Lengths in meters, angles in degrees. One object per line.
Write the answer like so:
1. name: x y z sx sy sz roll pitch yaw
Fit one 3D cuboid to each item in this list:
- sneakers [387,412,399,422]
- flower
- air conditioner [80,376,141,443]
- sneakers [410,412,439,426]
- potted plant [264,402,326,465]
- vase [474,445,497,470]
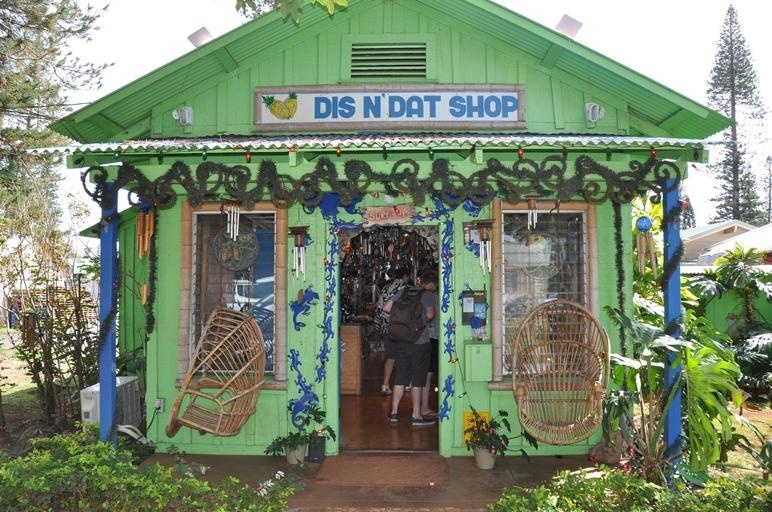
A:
1. sneakers: 0.148 2.938 15.113 0.182 0.185 0.443 0 0 -2
2. flower: 1.798 2.884 13.608 0.888 0.535 0.907 -5 13 -35
3. air conditioner: -4.594 2.530 13.985 0.634 0.927 1.231 2 6 11
4. sneakers: 0.704 2.929 14.915 0.386 0.167 0.203 -2 5 -10
5. potted plant: -1.439 2.974 13.867 1.235 0.946 0.695 0 0 -22
6. vase: 1.632 3.276 13.472 0.333 0.286 0.347 0 -1 -2
